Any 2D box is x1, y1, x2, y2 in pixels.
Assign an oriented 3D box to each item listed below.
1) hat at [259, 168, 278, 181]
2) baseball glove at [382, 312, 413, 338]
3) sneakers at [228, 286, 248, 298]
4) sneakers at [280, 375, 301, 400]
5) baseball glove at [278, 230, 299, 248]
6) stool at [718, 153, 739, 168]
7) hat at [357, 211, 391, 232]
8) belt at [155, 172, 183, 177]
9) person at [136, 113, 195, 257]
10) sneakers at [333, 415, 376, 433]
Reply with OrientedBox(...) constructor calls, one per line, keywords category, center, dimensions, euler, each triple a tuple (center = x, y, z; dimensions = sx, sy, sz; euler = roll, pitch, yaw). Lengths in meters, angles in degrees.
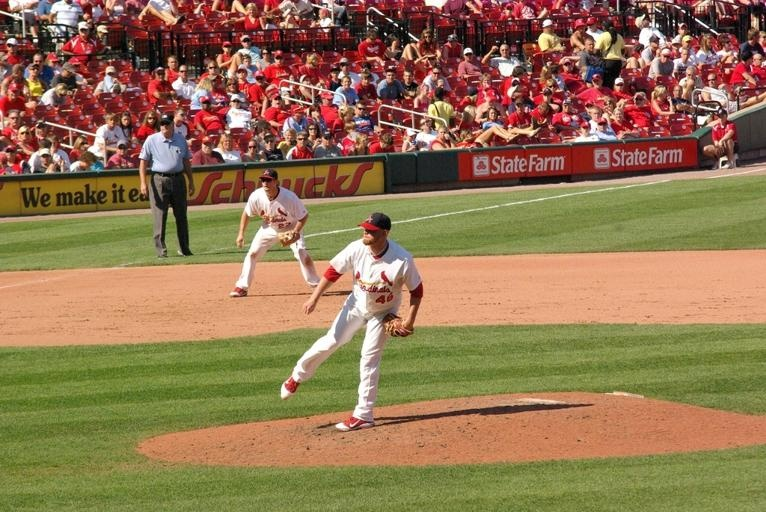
OrientedBox(category="hat", center=(-2.139, -1.532, 30.897), dimensions=(0.285, 0.187, 0.385), euler=(4, -7, 17))
OrientedBox(category="baseball glove", center=(0.236, 1.185, 26.773), dimensions=(0.332, 0.342, 0.400), euler=(-7, 15, -22))
OrientedBox(category="sneakers", center=(-2.783, 0.746, 31.470), dimensions=(0.411, 0.150, 0.151), euler=(2, 4, 3))
OrientedBox(category="sneakers", center=(-1.555, 2.268, 27.276), dimensions=(0.242, 0.452, 0.195), euler=(41, -10, -10))
OrientedBox(category="baseball glove", center=(-1.783, -0.306, 31.062), dimensions=(0.303, 0.165, 0.369), euler=(-32, 12, -6))
OrientedBox(category="stool", center=(9.637, -2.584, 45.048), dimensions=(0.546, 0.469, 0.301), euler=(0, 6, -2))
OrientedBox(category="hat", center=(-0.094, -0.535, 26.695), dimensions=(0.452, 0.228, 0.300), euler=(-1, 7, -8))
OrientedBox(category="belt", center=(-4.435, -1.690, 33.659), dimensions=(0.541, 0.108, 0.115), euler=(-6, 15, -21))
OrientedBox(category="person", center=(-4.507, -1.391, 33.847), dimensions=(1.050, 3.029, 0.643), euler=(-3, 15, -8))
OrientedBox(category="sneakers", center=(-0.475, 2.827, 26.776), dimensions=(0.655, 0.223, 0.241), euler=(1, 3, -3))
